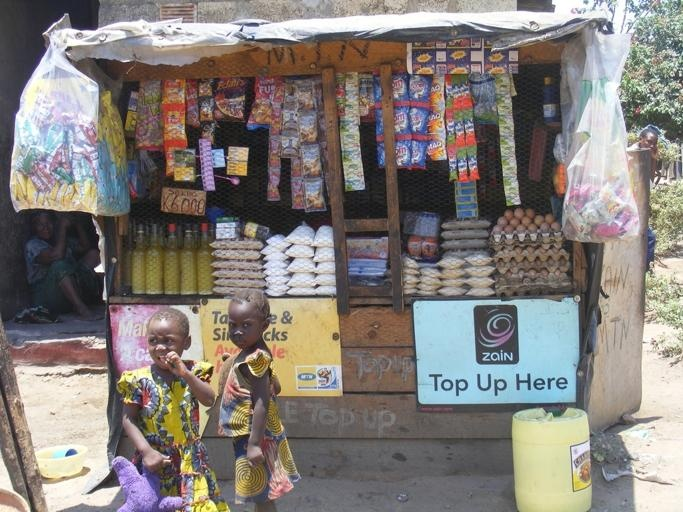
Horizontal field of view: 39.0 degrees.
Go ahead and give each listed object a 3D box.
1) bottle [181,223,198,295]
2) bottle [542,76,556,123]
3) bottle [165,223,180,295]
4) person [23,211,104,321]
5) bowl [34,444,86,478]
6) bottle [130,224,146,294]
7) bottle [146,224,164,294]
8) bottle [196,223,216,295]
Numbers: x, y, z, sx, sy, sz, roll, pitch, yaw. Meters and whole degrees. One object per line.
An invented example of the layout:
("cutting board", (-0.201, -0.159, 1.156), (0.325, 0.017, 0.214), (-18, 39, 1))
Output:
("bottle", (-1.417, 0.046, 8.848), (0.156, 0.590, 0.299), (-2, 4, -10))
("bottle", (1.817, -1.354, 8.471), (0.103, 0.403, 0.170), (-4, 4, -27))
("bottle", (-1.566, 0.029, 8.840), (0.149, 0.631, 0.235), (-2, 4, -11))
("person", (-3.488, 0.082, 12.235), (0.919, 1.298, 0.842), (1, 4, 33))
("bowl", (-2.510, 1.809, 8.527), (0.346, 0.149, 0.354), (0, 0, 0))
("bottle", (-1.870, 0.029, 8.847), (0.146, 0.619, 0.240), (-2, 4, -12))
("bottle", (-1.724, 0.027, 8.824), (0.164, 0.626, 0.211), (-3, 4, -13))
("bottle", (-1.256, 0.027, 8.798), (0.156, 0.626, 0.281), (-2, 4, -9))
